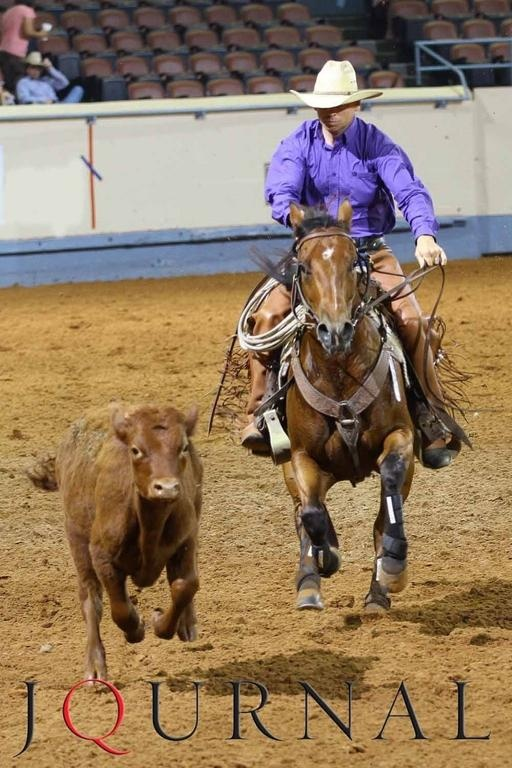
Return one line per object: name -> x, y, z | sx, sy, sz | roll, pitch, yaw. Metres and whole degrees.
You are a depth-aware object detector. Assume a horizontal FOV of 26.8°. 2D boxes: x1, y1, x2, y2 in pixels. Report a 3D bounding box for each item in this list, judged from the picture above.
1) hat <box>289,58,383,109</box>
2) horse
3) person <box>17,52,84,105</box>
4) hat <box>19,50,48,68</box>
hat -> 0.433, -1.602, 5.702 | 0.419, 0.269, 0.482 | -1, 12, 11
horse -> 0.434, 0.168, 5.026 | 0.627, 2.008, 0.946 | -4, 14, 2
person -> -3.104, -4.598, 16.069 | 0.995, 0.808, 1.387 | -5, 12, -8
hat -> -3.314, -4.990, 16.241 | 0.406, 0.142, 0.429 | 3, 2, -7
